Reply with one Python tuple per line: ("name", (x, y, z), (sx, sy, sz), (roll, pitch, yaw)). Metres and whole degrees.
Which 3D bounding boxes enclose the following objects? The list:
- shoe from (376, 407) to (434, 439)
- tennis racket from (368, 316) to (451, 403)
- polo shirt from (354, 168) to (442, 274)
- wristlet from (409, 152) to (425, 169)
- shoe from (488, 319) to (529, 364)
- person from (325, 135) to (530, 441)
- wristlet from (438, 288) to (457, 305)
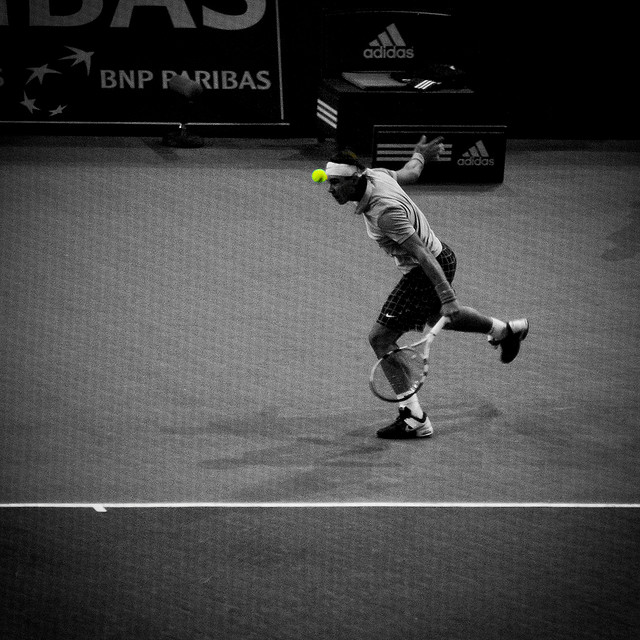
("shoe", (0.478, 0.565, 6.185), (0.385, 0.209, 0.121), (1, 7, 5))
("tennis racket", (0.456, 0.245, 6.061), (0.260, 0.046, 0.650), (40, -55, -2))
("polo shirt", (0.400, -0.567, 6.120), (0.380, 0.623, 0.403), (-4, -17, 16))
("wristlet", (0.582, -0.946, 6.756), (0.075, 0.081, 0.065), (-1, 5, 5))
("shoe", (1.084, 0.168, 6.604), (0.266, 0.127, 0.356), (0, -52, -6))
("person", (0.551, -0.292, 6.279), (0.593, 1.891, 1.150), (-10, -19, 32))
("wristlet", (0.668, -0.124, 5.963), (0.072, 0.063, 0.074), (-29, -7, 4))
